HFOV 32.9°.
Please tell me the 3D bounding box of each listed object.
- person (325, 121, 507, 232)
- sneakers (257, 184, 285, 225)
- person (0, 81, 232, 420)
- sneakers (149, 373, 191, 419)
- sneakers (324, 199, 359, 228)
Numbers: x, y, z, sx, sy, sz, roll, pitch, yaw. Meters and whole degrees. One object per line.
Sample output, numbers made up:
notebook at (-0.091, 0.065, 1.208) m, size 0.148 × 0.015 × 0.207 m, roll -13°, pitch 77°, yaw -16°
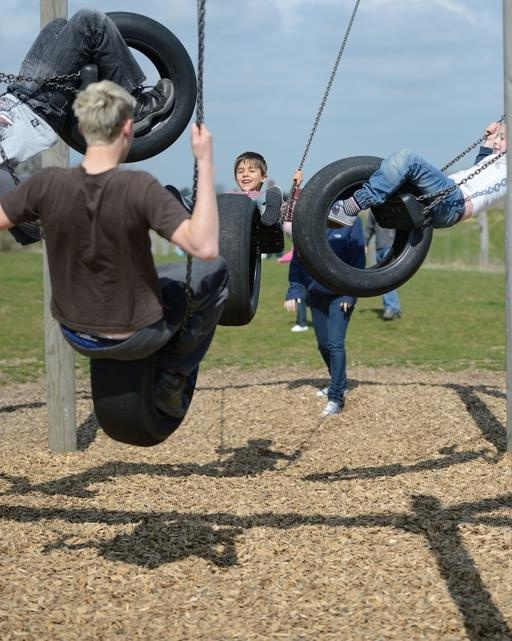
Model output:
person at (1.039, -0.842, 4.950) m, size 0.573 × 0.624 × 1.326 m, roll 7°, pitch 12°, yaw 42°
sneakers at (0.079, -0.640, 4.872) m, size 0.145 × 0.228 × 0.233 m, roll -2°, pitch 9°, yaw 1°
person at (-0.426, -0.195, 3.233) m, size 0.862 × 1.327 × 0.760 m, roll 2°, pitch 11°, yaw 22°
sneakers at (-0.374, 0.317, 3.652) m, size 0.116 × 0.157 × 0.189 m, roll -30°, pitch -19°, yaw -10°
sneakers at (0.475, -0.579, 4.701) m, size 0.095 × 0.092 × 0.247 m, roll 11°, pitch 11°, yaw -18°
